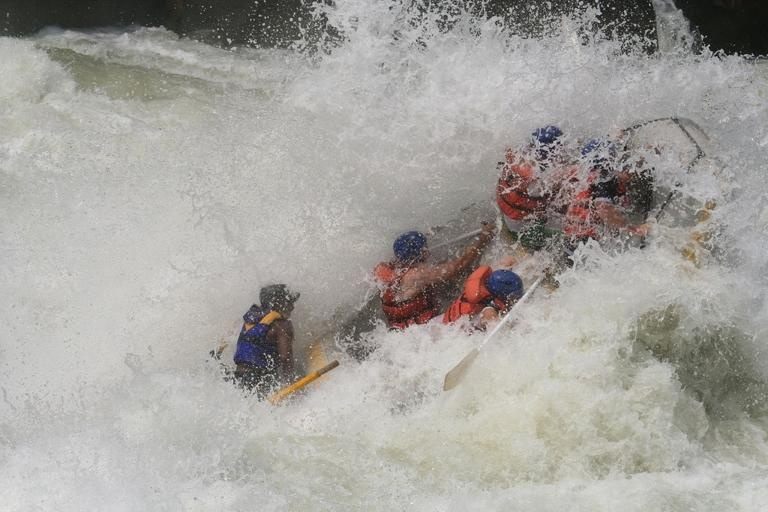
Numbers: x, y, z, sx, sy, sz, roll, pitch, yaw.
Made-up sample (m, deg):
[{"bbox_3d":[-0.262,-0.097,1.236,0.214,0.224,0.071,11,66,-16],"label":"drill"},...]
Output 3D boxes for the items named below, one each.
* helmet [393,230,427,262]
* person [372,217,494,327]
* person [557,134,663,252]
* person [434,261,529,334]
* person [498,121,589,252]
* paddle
[{"bbox_3d":[0.294,-0.104,11.040,0.362,0.135,0.324,-18,79,-2],"label":"helmet"},{"bbox_3d":[0.517,0.368,11.671,1.316,1.894,0.854,-5,51,-6],"label":"person"},{"bbox_3d":[2.559,-0.718,11.219,1.001,0.400,1.142,-1,79,2],"label":"person"},{"bbox_3d":[1.034,0.526,10.828,1.043,0.787,0.488,-30,105,-1],"label":"person"},{"bbox_3d":[1.753,-0.864,11.293,0.886,0.546,1.201,33,99,8],"label":"person"},{"bbox_3d":[1.322,0.774,10.692,0.237,0.138,1.818,42,90,15],"label":"paddle"}]
